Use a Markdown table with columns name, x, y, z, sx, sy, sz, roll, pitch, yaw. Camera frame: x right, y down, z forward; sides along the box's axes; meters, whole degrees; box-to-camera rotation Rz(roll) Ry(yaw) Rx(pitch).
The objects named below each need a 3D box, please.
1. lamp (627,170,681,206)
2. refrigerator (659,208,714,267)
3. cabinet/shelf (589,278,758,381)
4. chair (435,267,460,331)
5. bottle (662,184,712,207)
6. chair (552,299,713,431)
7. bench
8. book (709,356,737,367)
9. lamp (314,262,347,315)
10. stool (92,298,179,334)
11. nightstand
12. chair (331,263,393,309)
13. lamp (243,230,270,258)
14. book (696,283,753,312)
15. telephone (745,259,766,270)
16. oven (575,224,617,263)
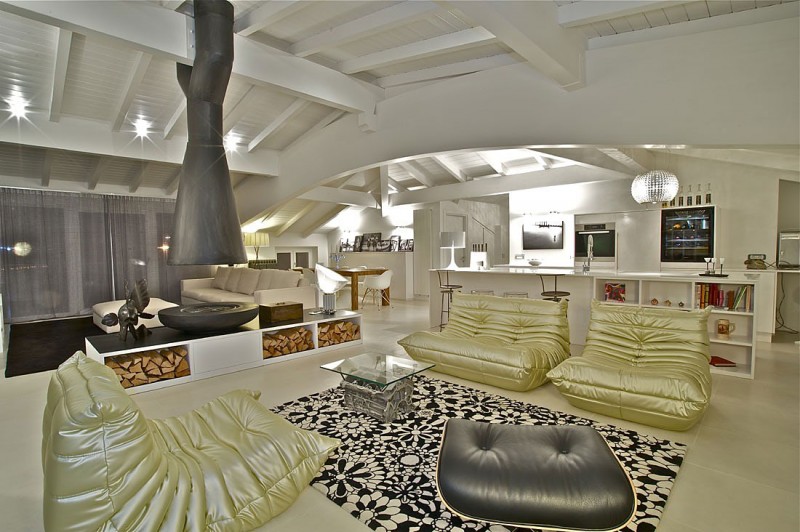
| name | x | y | z | sx | sy | sz | roll | pitch | yaw |
| --- | --- | --- | --- | --- | --- | --- | --- | --- | --- |
| lamp | 4.071 | -1.270 | 7.332 | 0.618 | 0.391 | 0.519 | 2 | 9 | 18 |
| refrigerator | 5.227 | -0.521 | 8.388 | 0.905 | 1.120 | 0.420 | 0 | -6 | 22 |
| cabinet/shelf | 3.409 | 0.792 | 5.567 | 1.361 | 0.841 | 0.442 | -1 | -4 | 43 |
| chair | 0.932 | 0.650 | 8.360 | 0.551 | 1.166 | 0.529 | -5 | -10 | 42 |
| bottle | 5.016 | -1.244 | 7.957 | 0.101 | 0.295 | 0.546 | -1 | 2 | -41 |
| chair | 2.647 | 1.053 | 5.127 | 1.485 | 0.938 | 1.443 | 6 | 18 | 41 |
| bench | 1.246 | 0.914 | 5.780 | 1.883 | 0.897 | 1.279 | -1 | -2 | 37 |
| book | 4.256 | 1.254 | 6.016 | 0.269 | 0.092 | 0.331 | -1 | 0 | 37 |
| lamp | -1.050 | 0.354 | 7.163 | 0.559 | 0.709 | 0.529 | 0 | -1 | -25 |
| stool | -4.834 | 0.800 | 8.153 | 1.076 | 0.433 | 1.180 | 0 | 1 | 43 |
| nightstand | -0.259 | 1.372 | 5.054 | 1.144 | 0.465 | 1.050 | 3 | 0 | -39 |
| chair | -0.980 | 0.393 | 11.107 | 1.195 | 0.821 | 1.206 | 3 | 5 | 42 |
| lamp | -3.931 | -0.557 | 12.584 | 0.617 | 0.722 | 1.688 | -1 | 0 | -16 |
| book | 4.310 | 0.400 | 6.088 | 0.634 | 0.361 | 0.260 | -1 | 1 | 30 |
| telephone | 5.784 | -0.053 | 7.429 | 0.216 | 0.172 | 0.217 | 2 | 4 | 38 |
| oven | 3.931 | -0.469 | 9.551 | 0.920 | 0.781 | 0.491 | -2 | 2 | -9 |
